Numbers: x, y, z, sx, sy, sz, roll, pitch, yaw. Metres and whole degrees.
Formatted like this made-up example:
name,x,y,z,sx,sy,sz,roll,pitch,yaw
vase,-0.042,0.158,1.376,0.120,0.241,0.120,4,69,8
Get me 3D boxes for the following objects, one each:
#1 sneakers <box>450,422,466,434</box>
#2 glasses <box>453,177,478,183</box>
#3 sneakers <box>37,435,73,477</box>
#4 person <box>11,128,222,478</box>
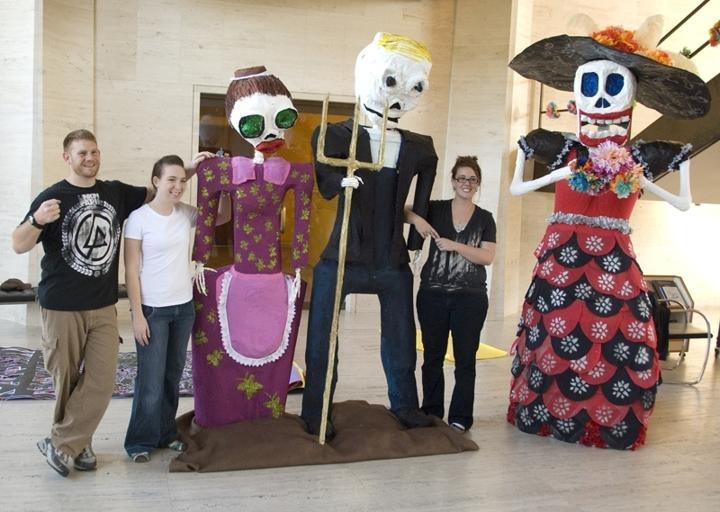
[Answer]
name,x,y,z,sx,sy,sz,roll,pitch,yaw
sneakers,0.755,1.313,6.081,0.138,0.077,0.081,4,3,6
glasses,0.809,-0.579,6.079,0.178,0.048,0.049,4,3,5
sneakers,-2.046,1.342,5.345,0.128,0.255,0.332,1,4,-45
person,-1.889,0.313,5.326,0.787,2.289,0.319,3,3,-17
